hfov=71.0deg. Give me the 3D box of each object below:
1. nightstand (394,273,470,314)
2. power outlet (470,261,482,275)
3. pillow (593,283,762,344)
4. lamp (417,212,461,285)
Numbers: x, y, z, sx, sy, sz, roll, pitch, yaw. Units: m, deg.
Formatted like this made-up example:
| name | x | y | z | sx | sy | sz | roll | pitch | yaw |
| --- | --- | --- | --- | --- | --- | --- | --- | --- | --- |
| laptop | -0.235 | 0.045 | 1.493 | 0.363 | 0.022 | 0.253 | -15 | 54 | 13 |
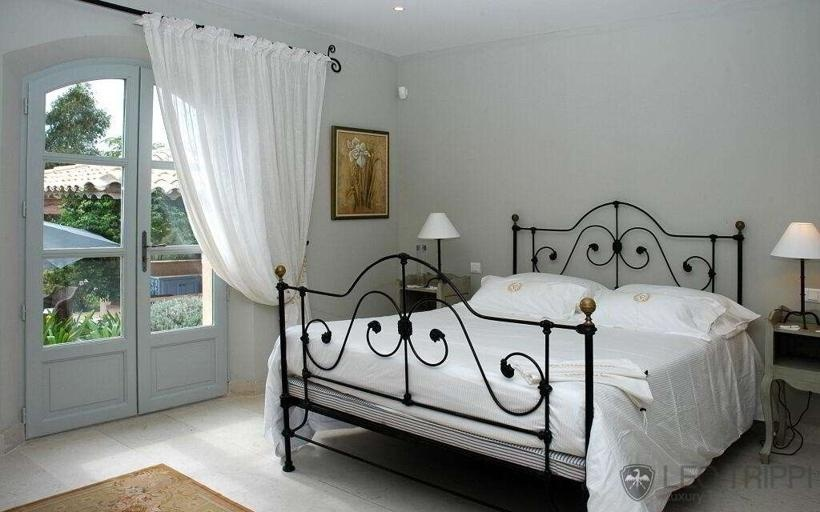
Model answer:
| name | x | y | z | sx | sy | sz | roll | pitch | yaw |
| --- | --- | --- | --- | --- | --- | --- | --- | --- | --- |
| nightstand | 0.216 | 0.426 | 5.938 | 0.599 | 0.558 | 0.434 | 5 | 5 | 45 |
| power outlet | 0.678 | 0.122 | 5.960 | 0.135 | 0.116 | 0.019 | 1 | -3 | 35 |
| pillow | 1.955 | 0.402 | 4.729 | 1.010 | 0.230 | 0.950 | 3 | 18 | 32 |
| lamp | 0.291 | -0.106 | 5.846 | 0.422 | 0.721 | 0.409 | -3 | 17 | -1 |
